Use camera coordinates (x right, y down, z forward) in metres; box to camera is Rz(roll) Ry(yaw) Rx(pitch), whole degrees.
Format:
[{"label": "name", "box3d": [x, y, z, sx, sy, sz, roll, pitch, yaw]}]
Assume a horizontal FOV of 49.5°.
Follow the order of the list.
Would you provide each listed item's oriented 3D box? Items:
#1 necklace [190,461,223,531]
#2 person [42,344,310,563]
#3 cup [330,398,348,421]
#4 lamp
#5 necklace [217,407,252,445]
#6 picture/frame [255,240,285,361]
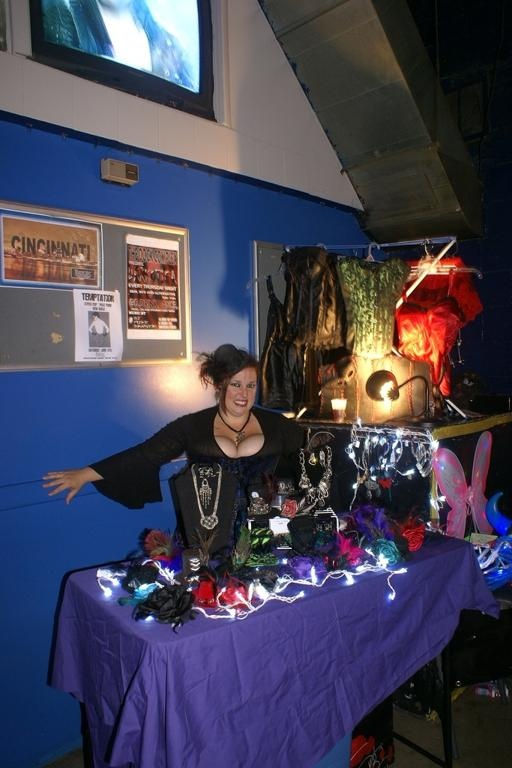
[{"label": "necklace", "box3d": [-0.164, 0.387, 1.899, 0.108, 0.211, 0.063, -3, 4, -6]}, {"label": "person", "box3d": [-0.373, 0.302, 2.286, 0.950, 0.798, 0.188, 2, -4, -26]}, {"label": "cup", "box3d": [0.400, 0.127, 2.754, 0.098, 0.141, 0.098, 1, 8, 0]}, {"label": "lamp", "box3d": [0.674, 0.049, 2.597, 0.146, 0.187, 0.262, 6, -7, -33]}, {"label": "necklace", "box3d": [-0.097, 0.202, 2.490, 0.101, 0.171, 0.007, -1, -24, -16]}, {"label": "picture/frame", "box3d": [0.078, -0.459, 3.067, 0.072, 0.628, 0.250, 1, 6, 41]}]
